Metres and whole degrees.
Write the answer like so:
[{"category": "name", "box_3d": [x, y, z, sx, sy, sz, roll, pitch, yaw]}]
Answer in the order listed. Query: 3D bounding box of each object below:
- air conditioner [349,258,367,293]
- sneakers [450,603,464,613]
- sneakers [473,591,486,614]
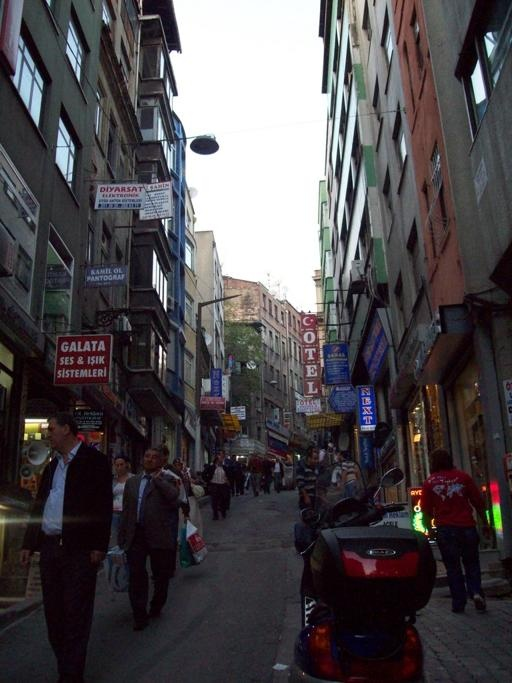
[{"category": "air conditioner", "box_3d": [4.860, -3.076, 23.484, 0.447, 1.233, 1.184, -2, -41, 7]}, {"category": "sneakers", "box_3d": [2.104, 2.788, 5.167, 0.120, 0.073, 0.219, -10, -17, 22]}, {"category": "sneakers", "box_3d": [2.332, 2.725, 5.165, 0.068, 0.281, 0.101, -6, 18, 21]}]
